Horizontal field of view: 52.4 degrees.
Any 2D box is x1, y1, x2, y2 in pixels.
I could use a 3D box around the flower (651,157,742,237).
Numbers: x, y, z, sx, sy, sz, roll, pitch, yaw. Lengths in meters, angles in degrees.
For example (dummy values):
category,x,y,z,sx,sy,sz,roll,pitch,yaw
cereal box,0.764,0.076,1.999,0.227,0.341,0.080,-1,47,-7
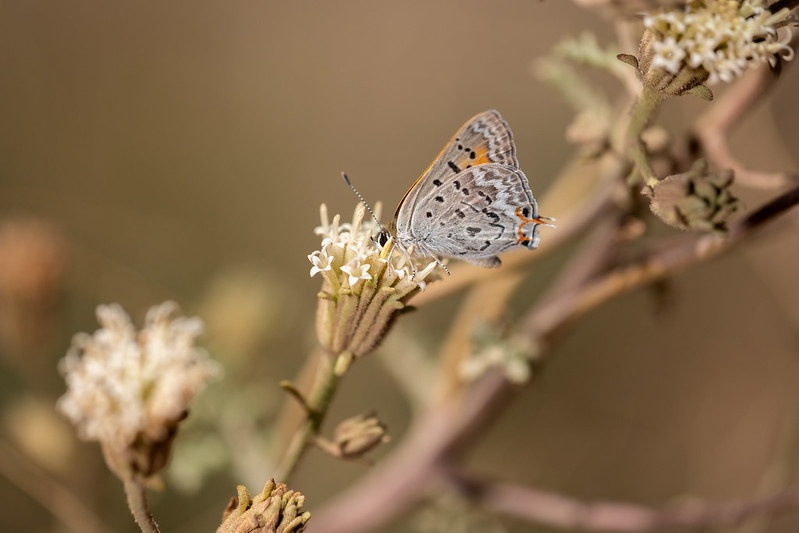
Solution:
category,x,y,z,sx,sy,sz,roll,pitch,yaw
flower,0.585,-0.138,1.616,0.167,0.130,0.085,10,-17,19
